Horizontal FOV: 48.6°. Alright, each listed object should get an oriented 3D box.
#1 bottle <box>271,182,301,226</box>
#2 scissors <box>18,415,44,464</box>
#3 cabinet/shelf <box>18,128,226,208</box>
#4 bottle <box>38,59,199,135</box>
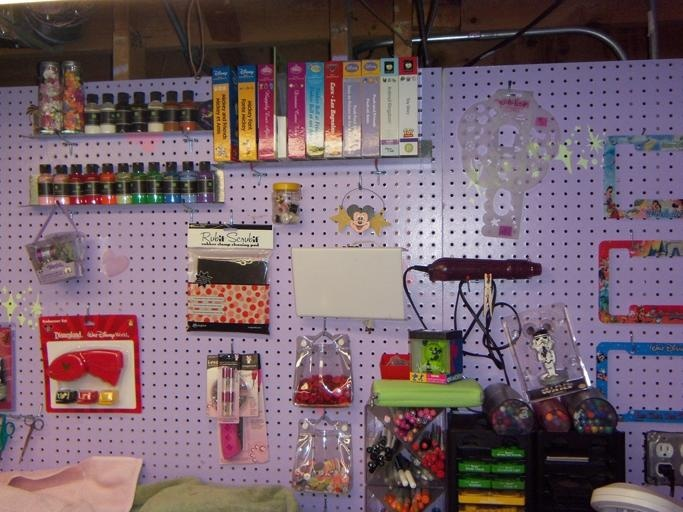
[{"bbox_3d":[-0.212,-0.200,2.936,0.128,0.166,0.138,0,1,0],"label":"bottle"},{"bbox_3d":[-1.256,0.726,3.071,0.074,0.218,0.024,13,-13,-10],"label":"scissors"},{"bbox_3d":[-0.906,-0.377,3.098,0.786,0.318,0.202,-3,42,-20],"label":"cabinet/shelf"},{"bbox_3d":[-0.808,-0.603,3.033,0.823,0.340,0.266,-1,1,-2],"label":"bottle"}]
